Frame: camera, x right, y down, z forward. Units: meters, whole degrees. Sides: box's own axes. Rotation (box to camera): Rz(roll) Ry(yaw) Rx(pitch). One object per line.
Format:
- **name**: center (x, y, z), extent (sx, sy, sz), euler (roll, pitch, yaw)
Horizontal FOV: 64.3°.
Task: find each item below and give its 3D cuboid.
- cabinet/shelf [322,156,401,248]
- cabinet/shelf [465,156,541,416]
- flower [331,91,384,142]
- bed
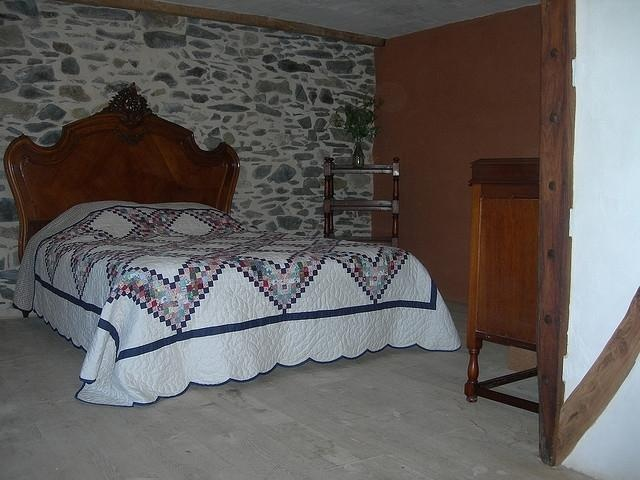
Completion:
- **cabinet/shelf**: center (0.470, -0.361, 5.862), extent (0.857, 1.039, 0.433), euler (2, 7, 9)
- **cabinet/shelf**: center (1.033, 0.270, 2.847), extent (0.232, 1.428, 0.511), euler (-7, 12, -38)
- **flower**: center (0.451, -1.480, 6.096), extent (0.704, 0.653, 0.514), euler (2, -4, -17)
- **bed**: center (-0.942, -0.286, 4.091), extent (2.375, 2.182, 3.083), euler (-6, 11, -38)
